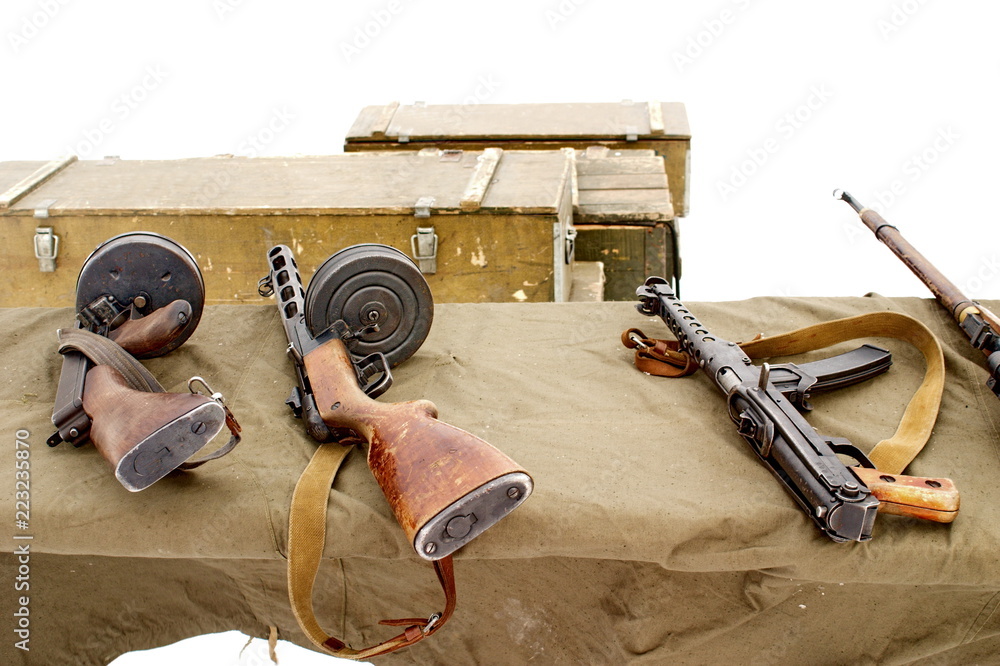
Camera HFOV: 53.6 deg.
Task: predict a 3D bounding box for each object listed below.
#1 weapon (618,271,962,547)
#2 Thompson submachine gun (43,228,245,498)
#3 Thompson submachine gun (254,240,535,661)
[{"bbox_3d":[1.688,0.327,5.464,1.210,1.143,1.927,-2,8,-33],"label":"weapon"},{"bbox_3d":[-1.922,0.161,5.149,0.959,0.489,1.483,-29,49,-5],"label":"Thompson submachine gun"},{"bbox_3d":[-0.651,0.446,5.061,1.001,0.649,2.506,-31,33,-4],"label":"Thompson submachine gun"}]
